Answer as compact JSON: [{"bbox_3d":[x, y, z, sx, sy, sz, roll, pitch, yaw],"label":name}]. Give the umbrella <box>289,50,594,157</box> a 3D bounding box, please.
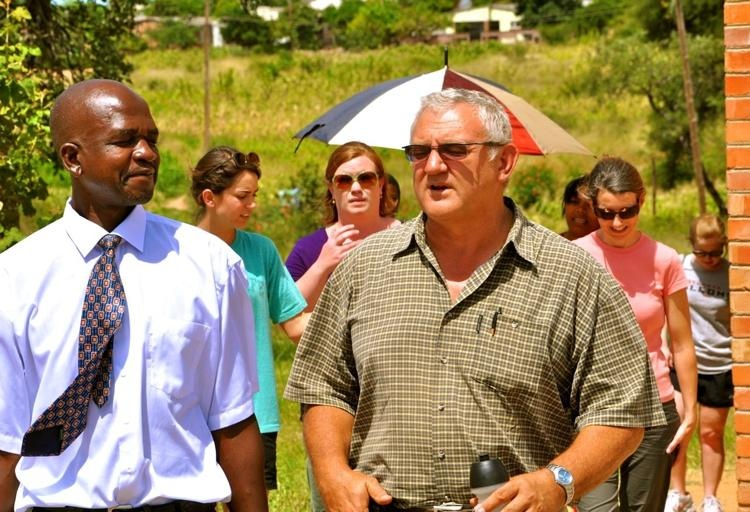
[{"bbox_3d":[0.385,-1.141,9.031,1.494,0.779,1.540,1,5,2],"label":"umbrella"}]
